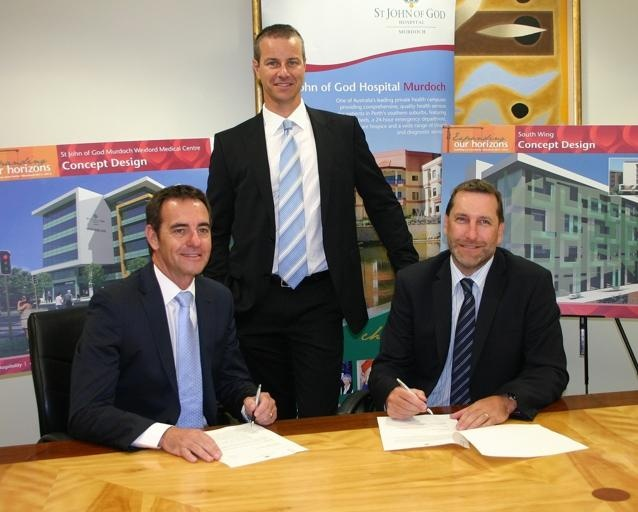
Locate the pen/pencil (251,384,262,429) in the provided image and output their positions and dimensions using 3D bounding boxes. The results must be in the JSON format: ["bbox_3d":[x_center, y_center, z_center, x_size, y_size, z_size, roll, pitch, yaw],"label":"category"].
[{"bbox_3d":[-0.244,0.559,1.867,0.026,0.165,0.028,7,-35,8],"label":"pen/pencil"}]

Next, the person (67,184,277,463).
[{"bbox_3d":[-0.562,0.337,2.054,0.704,1.192,0.776,1,2,35],"label":"person"}]

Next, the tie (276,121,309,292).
[{"bbox_3d":[-0.159,-0.256,2.720,0.169,0.808,0.228,-2,13,-6],"label":"tie"}]
